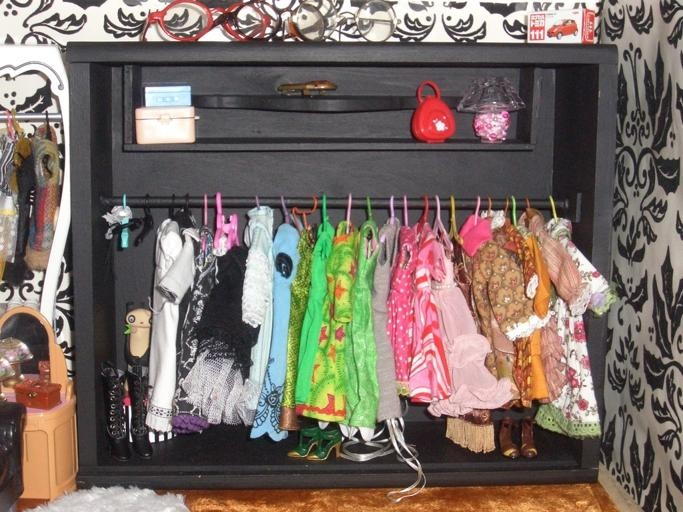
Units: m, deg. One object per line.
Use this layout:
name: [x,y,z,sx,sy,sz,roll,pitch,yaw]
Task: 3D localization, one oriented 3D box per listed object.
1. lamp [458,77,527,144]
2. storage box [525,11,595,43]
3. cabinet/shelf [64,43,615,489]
lamp: [0.639,-0.640,3.207,0.267,0.283,0.291,-3,8,-8]
storage box: [0.949,-0.999,3.209,0.306,0.184,0.171,0,11,8]
cabinet/shelf: [-0.005,0.047,3.181,2.173,1.836,0.501,-1,1,0]
